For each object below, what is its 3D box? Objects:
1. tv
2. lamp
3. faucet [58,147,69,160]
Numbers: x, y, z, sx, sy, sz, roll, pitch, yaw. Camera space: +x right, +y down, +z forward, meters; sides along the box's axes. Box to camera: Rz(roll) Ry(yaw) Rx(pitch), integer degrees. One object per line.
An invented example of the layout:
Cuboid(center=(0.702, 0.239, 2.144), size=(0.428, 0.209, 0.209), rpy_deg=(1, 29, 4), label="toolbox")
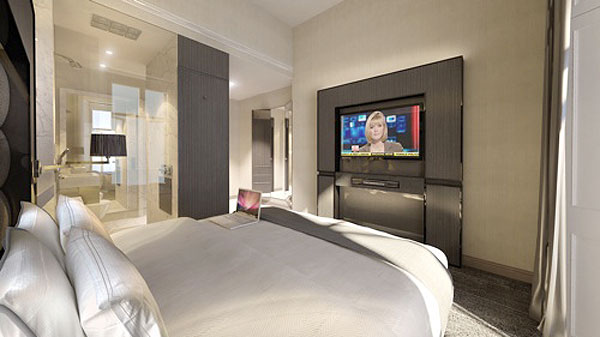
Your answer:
Cuboid(center=(1.267, -0.534, 5.926), size=(0.868, 0.768, 0.430), rpy_deg=(-3, -1, 16), label="tv")
Cuboid(center=(-3.026, -0.205, 4.969), size=(0.484, 0.626, 1.070), rpy_deg=(2, 2, 22), label="lamp")
Cuboid(center=(-3.266, -0.209, 4.937), size=(0.196, 0.059, 0.047), rpy_deg=(-32, -24, 21), label="faucet")
